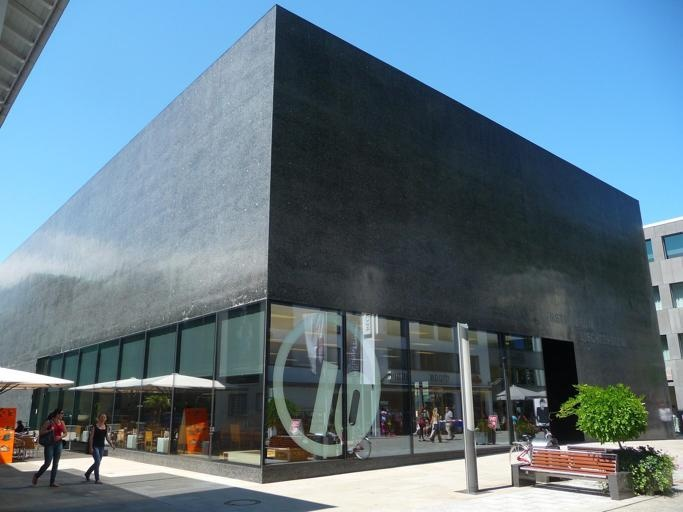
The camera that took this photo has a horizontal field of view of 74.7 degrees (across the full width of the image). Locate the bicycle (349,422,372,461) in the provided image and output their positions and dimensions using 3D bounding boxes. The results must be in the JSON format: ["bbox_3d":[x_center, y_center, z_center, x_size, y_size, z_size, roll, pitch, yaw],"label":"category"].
[{"bbox_3d":[0.688,6.427,15.038,0.883,0.946,0.152,14,-23,-35],"label":"bicycle"}]

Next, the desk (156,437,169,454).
[{"bbox_3d":[-6.818,7.328,17.053,0.295,0.696,0.655,8,-15,-42],"label":"desk"}]

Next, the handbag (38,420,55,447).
[{"bbox_3d":[-8.430,5.105,12.752,0.471,0.745,0.335,-17,-25,41],"label":"handbag"}]

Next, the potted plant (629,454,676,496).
[{"bbox_3d":[7.434,5.387,10.720,0.922,0.599,0.955,-10,-16,19],"label":"potted plant"}]

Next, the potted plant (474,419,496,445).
[{"bbox_3d":[6.061,7.454,18.758,1.313,1.047,0.358,16,-24,-39],"label":"potted plant"}]

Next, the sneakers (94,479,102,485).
[{"bbox_3d":[-7.027,6.615,12.918,0.092,0.112,0.250,13,-21,-41],"label":"sneakers"}]

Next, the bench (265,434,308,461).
[{"bbox_3d":[-1.654,5.908,13.578,1.400,0.771,0.152,16,-24,-38],"label":"bench"}]
